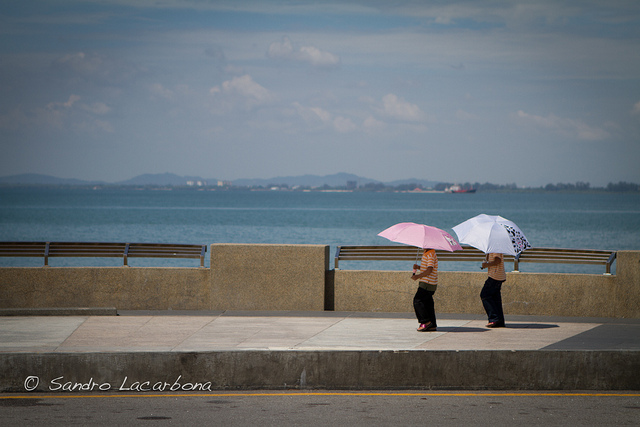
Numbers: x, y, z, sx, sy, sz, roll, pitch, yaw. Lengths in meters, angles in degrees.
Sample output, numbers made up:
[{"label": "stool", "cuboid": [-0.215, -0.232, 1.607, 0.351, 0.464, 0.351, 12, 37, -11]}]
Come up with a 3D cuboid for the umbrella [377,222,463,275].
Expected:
[{"label": "umbrella", "cuboid": [2.311, 0.687, 32.000, 1.560, 0.778, 1.439, 10, -7, 1]}]

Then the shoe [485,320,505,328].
[{"label": "shoe", "cuboid": [4.129, 2.635, 32.116, 0.426, 0.108, 0.149, 1, 2, 14]}]

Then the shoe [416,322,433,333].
[{"label": "shoe", "cuboid": [2.419, 2.662, 31.712, 0.396, 0.147, 0.143, -31, 6, 4]}]

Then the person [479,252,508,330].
[{"label": "person", "cuboid": [4.135, 1.839, 32.113, 0.590, 1.815, 0.435, 0, 2, -14]}]

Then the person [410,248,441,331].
[{"label": "person", "cuboid": [2.407, 1.782, 31.676, 0.576, 1.958, 0.433, 1, 2, 1]}]

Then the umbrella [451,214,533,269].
[{"label": "umbrella", "cuboid": [4.071, 0.667, 32.437, 1.920, 1.080, 1.776, 12, 30, 11]}]
